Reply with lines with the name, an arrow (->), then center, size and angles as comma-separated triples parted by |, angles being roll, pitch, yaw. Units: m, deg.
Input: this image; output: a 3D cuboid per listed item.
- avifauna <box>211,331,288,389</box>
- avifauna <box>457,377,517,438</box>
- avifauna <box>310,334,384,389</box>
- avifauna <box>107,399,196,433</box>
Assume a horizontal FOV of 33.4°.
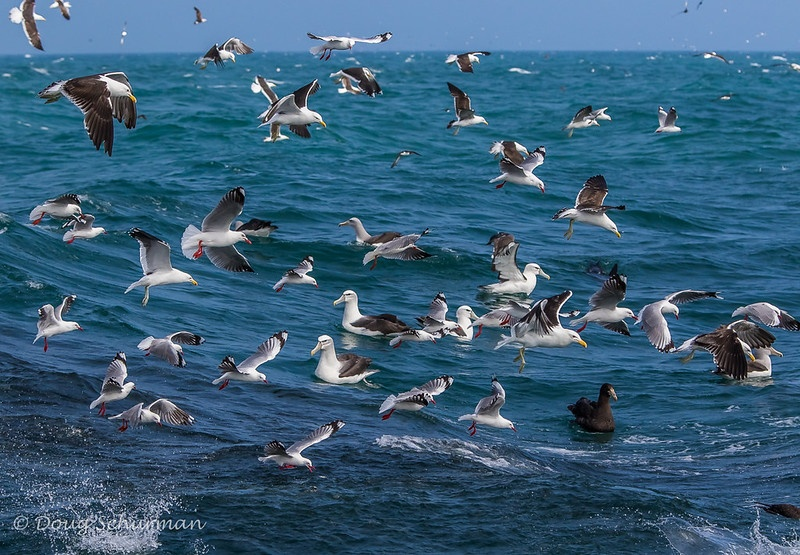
avifauna -> -4.290, 2.597, 38.225 | 1.726, 1.895, 2.360 | 5, 21, 6
avifauna -> 2.565, 3.694, 38.148 | 1.398, 2.244, 1.397 | 5, 23, 4
avifauna -> -1.711, 2.454, 40.234 | 1.725, 1.644, 0.757 | 1, 24, -5
avifauna -> -6.729, 3.774, 36.569 | 2.217, 1.114, 1.172 | 1, 21, -5
